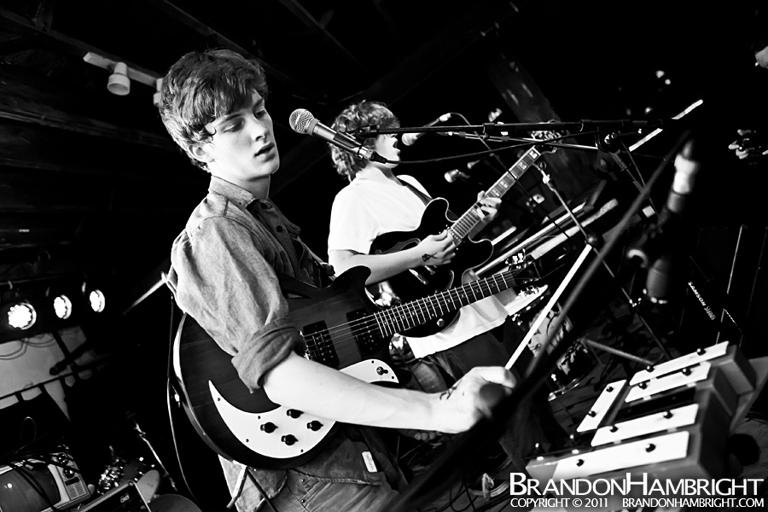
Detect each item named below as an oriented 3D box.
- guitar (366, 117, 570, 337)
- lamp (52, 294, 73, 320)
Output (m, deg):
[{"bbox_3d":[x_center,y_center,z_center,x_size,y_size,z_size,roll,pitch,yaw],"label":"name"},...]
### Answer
[{"bbox_3d":[0.609,-0.212,3.896,1.927,0.810,0.215,-41,-1,-26],"label":"guitar"},{"bbox_3d":[-2.521,0.414,4.345,0.135,0.192,0.043,2,-7,-31],"label":"lamp"}]
